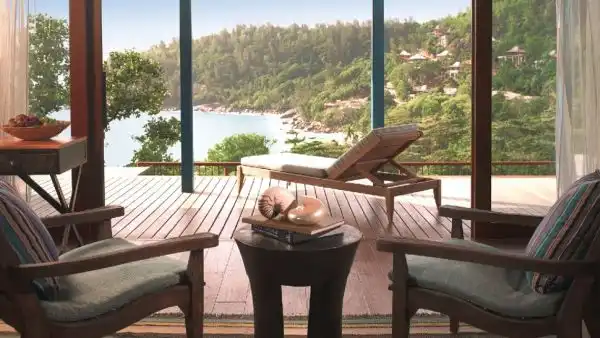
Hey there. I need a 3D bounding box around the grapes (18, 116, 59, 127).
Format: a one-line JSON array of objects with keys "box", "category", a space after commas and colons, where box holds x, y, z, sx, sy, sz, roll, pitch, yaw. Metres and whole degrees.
[{"box": [-2.587, -0.465, 5.022, 0.219, 0.072, 0.189, 1, 0, -19], "category": "grapes"}]

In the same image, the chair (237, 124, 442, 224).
[{"box": [0.486, -0.034, 6.910, 2.497, 1.019, 1.272, 7, 8, 33], "category": "chair"}]
